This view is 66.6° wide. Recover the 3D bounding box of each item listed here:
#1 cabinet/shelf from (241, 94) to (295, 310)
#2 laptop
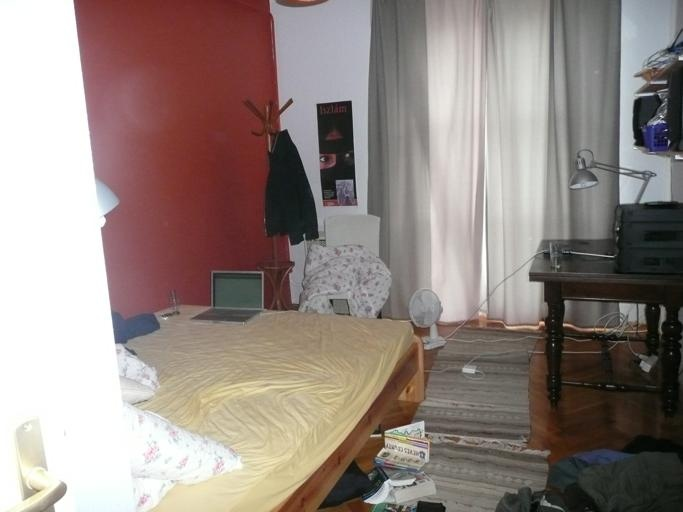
[{"bbox_3d":[-0.670,-0.477,5.259,0.462,2.235,1.272,-3,10,2],"label":"cabinet/shelf"},{"bbox_3d":[-0.783,0.245,3.608,0.376,0.298,0.326,2,4,17],"label":"laptop"}]
